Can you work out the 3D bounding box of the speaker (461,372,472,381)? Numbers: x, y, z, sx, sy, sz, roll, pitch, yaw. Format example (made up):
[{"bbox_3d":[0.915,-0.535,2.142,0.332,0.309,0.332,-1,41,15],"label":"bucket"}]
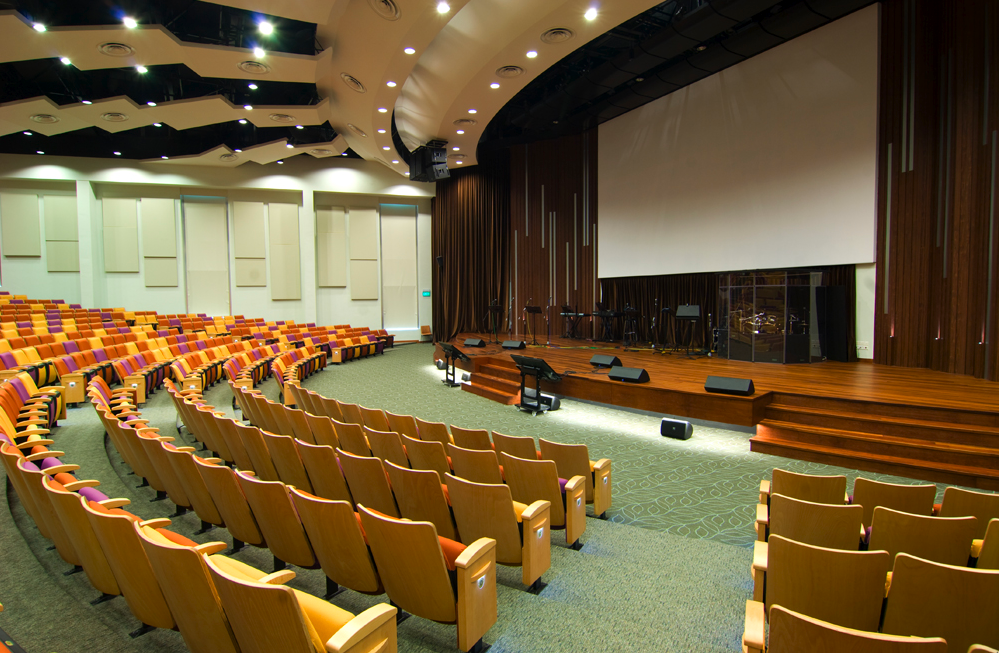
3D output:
[{"bbox_3d":[-0.556,0.886,10.600,0.124,0.123,0.167,-2,2,-25],"label":"speaker"}]

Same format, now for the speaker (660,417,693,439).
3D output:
[{"bbox_3d":[2.207,1.289,7.475,0.325,0.241,0.228,5,-13,32],"label":"speaker"}]

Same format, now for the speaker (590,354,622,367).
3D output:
[{"bbox_3d":[1.667,0.549,9.466,0.277,0.139,0.243,-5,-9,42],"label":"speaker"}]

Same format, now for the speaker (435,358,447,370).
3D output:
[{"bbox_3d":[-1.162,0.752,12.048,0.249,0.240,0.252,7,-11,-32],"label":"speaker"}]

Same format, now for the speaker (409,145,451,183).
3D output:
[{"bbox_3d":[-1.385,-3.240,12.043,0.576,0.705,0.956,-4,11,-35],"label":"speaker"}]
